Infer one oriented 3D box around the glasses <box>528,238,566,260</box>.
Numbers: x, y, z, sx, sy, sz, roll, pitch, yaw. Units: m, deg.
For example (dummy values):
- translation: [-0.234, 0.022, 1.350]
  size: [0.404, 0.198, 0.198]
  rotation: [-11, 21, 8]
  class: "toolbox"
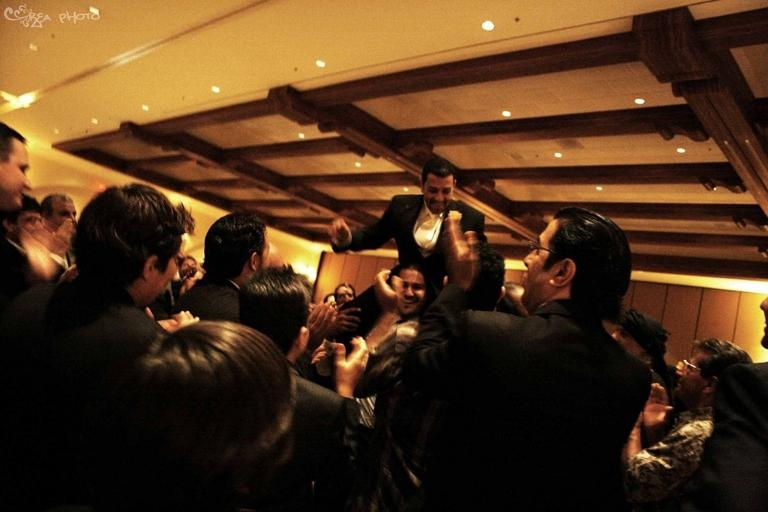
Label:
- translation: [0.603, -0.020, 1.976]
  size: [0.084, 0.024, 0.081]
  rotation: [22, 5, 28]
  class: "glasses"
